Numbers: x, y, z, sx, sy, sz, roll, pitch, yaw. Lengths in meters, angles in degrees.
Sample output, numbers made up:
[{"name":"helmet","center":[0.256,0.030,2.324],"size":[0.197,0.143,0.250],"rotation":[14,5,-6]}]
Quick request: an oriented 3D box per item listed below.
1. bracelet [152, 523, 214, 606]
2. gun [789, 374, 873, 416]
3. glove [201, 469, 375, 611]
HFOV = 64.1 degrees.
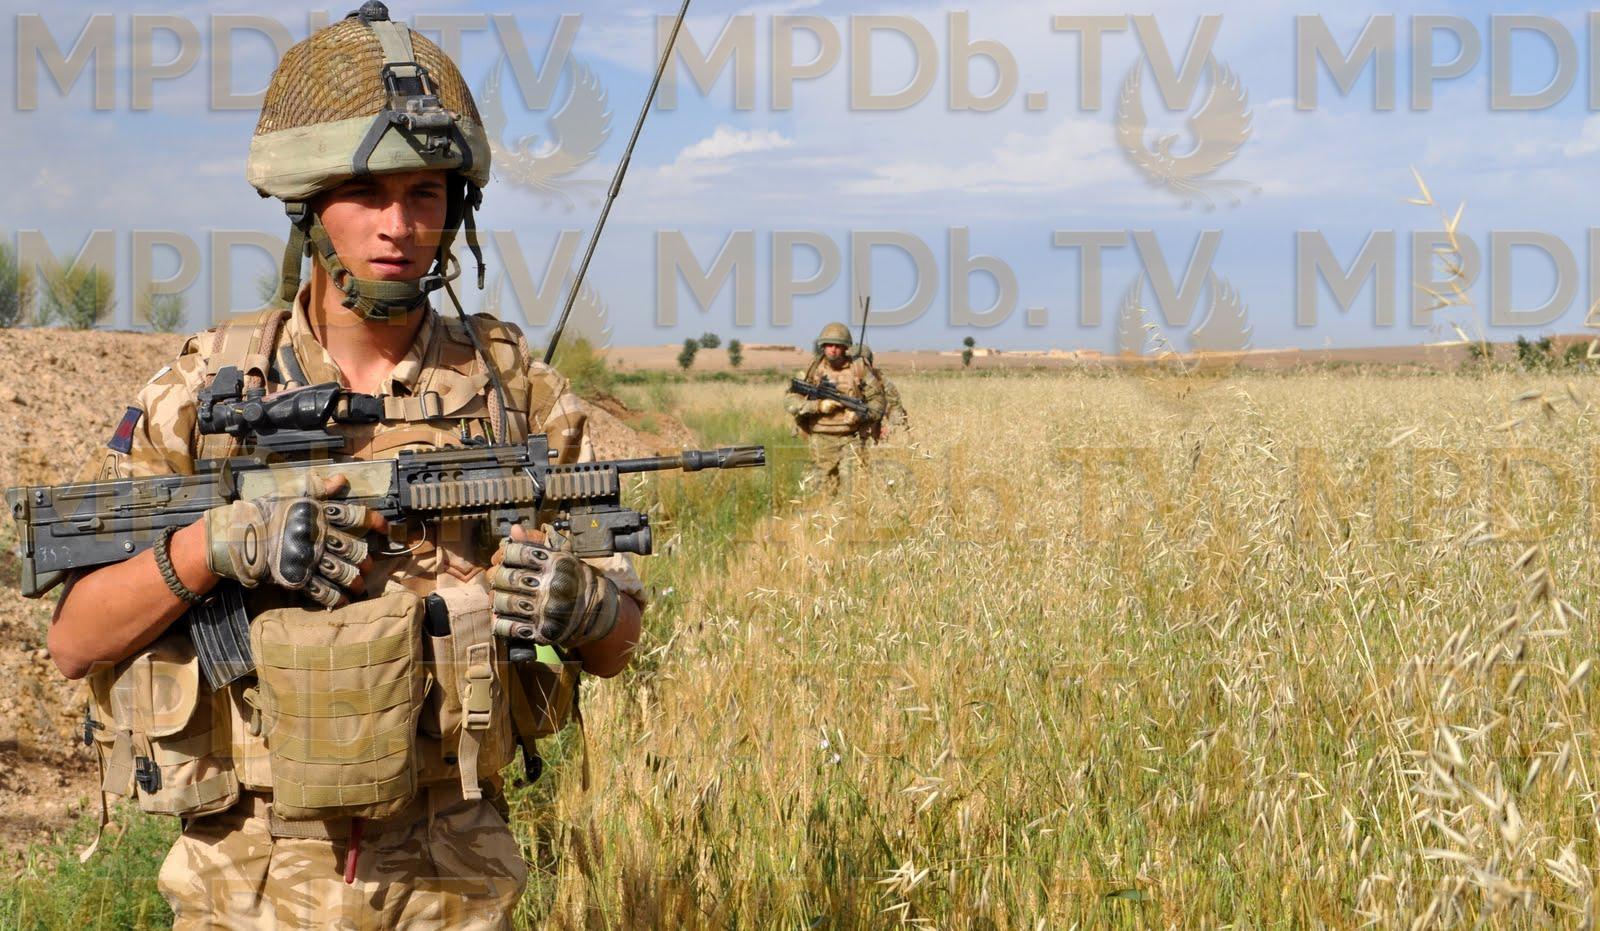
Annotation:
[{"name":"bracelet","center":[-2.947,0.493,6.116],"size":[0.118,0.379,0.309],"rotation":[-23,-10,20]},{"name":"gun","center":[0.472,-0.926,16.774],"size":[0.957,0.455,0.247],"rotation":[18,10,-10]},{"name":"glove","center":[-2.427,0.413,6.115],"size":[0.728,0.521,0.223],"rotation":[-1,3,-23]}]
